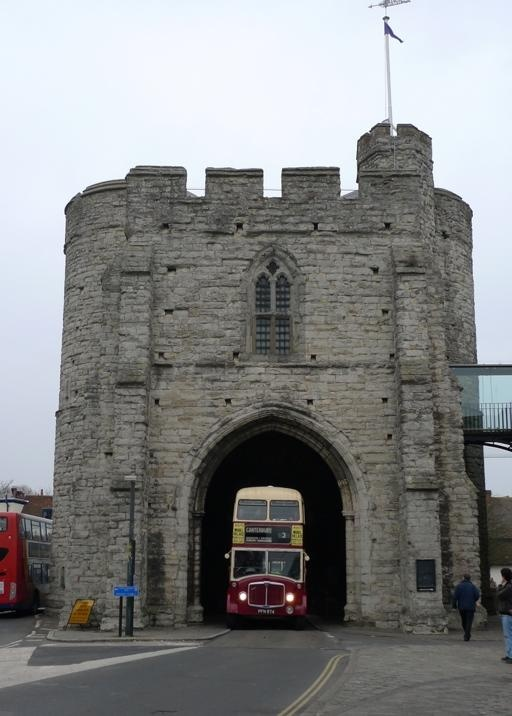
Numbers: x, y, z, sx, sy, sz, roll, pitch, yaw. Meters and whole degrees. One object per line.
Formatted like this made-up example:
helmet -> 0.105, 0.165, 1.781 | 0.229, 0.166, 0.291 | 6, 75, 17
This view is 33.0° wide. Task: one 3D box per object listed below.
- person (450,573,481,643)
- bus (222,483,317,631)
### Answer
person -> 3.896, 4.656, 16.083 | 0.466, 1.211, 0.946 | -3, -14, 11
bus -> 0.450, 4.323, 20.224 | 1.439, 3.334, 3.619 | 1, -1, 7
